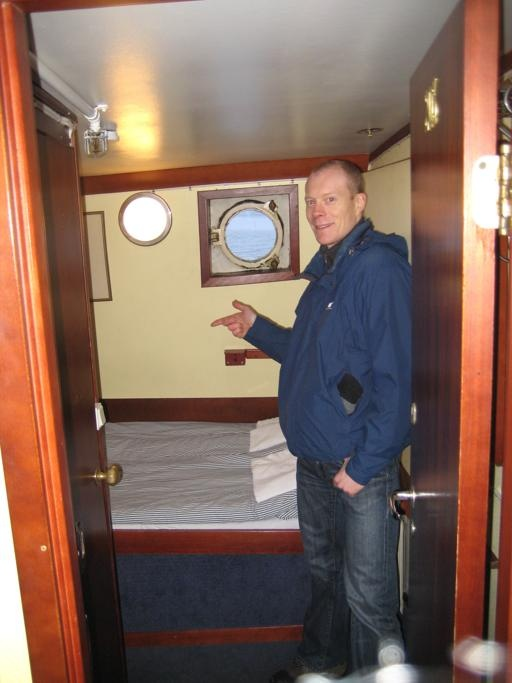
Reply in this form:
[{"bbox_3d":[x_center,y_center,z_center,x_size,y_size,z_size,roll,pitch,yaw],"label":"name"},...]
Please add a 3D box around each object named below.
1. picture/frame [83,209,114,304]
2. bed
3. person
[{"bbox_3d":[-1.025,-0.552,3.793,0.123,0.585,0.074,-5,8,-14],"label":"picture/frame"},{"bbox_3d":[-0.191,0.886,2.414,0.696,0.777,0.179,-2,-43,-1],"label":"bed"},{"bbox_3d":[0.303,0.267,1.701,0.404,1.633,0.613,-8,9,-35],"label":"person"}]
